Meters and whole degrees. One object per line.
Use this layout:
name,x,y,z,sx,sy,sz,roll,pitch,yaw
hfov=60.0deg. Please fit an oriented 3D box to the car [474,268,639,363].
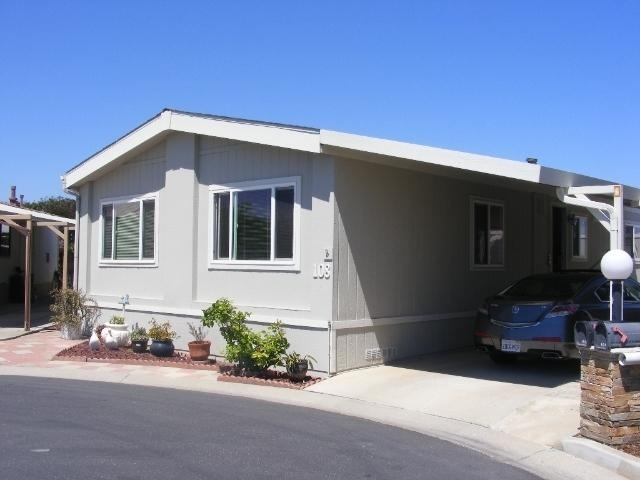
car,3.836,1.276,9.498,2.952,1.084,1.342,0,-1,-44
